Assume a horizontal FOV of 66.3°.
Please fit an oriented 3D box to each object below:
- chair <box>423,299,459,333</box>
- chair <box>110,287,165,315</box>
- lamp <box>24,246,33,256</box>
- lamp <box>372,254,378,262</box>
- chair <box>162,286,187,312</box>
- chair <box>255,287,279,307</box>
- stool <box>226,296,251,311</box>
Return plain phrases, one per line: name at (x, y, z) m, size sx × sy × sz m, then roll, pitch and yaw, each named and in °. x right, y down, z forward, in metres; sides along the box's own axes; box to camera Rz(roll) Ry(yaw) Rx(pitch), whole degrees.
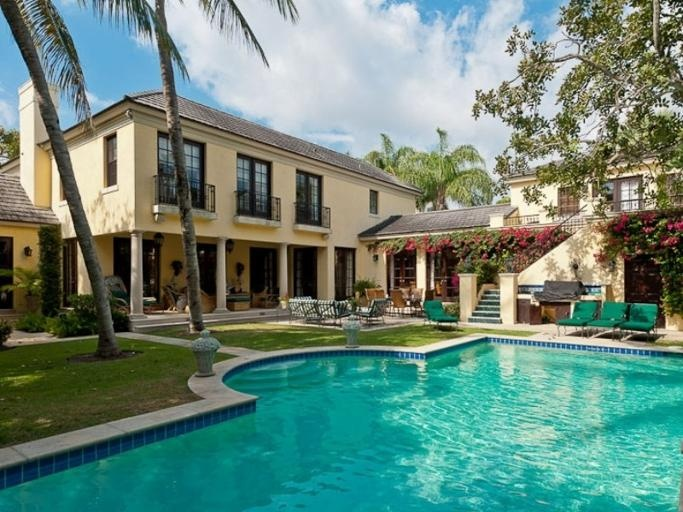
chair at (3.309, 1.987, 17.740) m, size 0.780 × 0.832 × 1.239 m, roll -1°, pitch -1°, yaw -14°
chair at (-7.254, 1.555, 17.841) m, size 0.949 × 0.641 × 1.004 m, roll 0°, pitch -4°, yaw 15°
lamp at (-11.232, -0.169, 18.747) m, size 0.311 × 0.360 × 0.266 m, roll -1°, pitch 2°, yaw -40°
lamp at (1.631, 0.064, 25.481) m, size 0.174 × 0.358 × 0.338 m, roll 4°, pitch -5°, yaw -43°
chair at (-6.038, 1.580, 19.063) m, size 0.989 × 1.101 × 0.896 m, roll -3°, pitch 1°, yaw -21°
chair at (-3.196, 1.789, 22.387) m, size 0.839 × 1.189 × 0.882 m, roll 0°, pitch -2°, yaw 7°
stool at (-3.916, 1.732, 19.868) m, size 0.517 × 0.376 × 0.743 m, roll -1°, pitch 1°, yaw -22°
